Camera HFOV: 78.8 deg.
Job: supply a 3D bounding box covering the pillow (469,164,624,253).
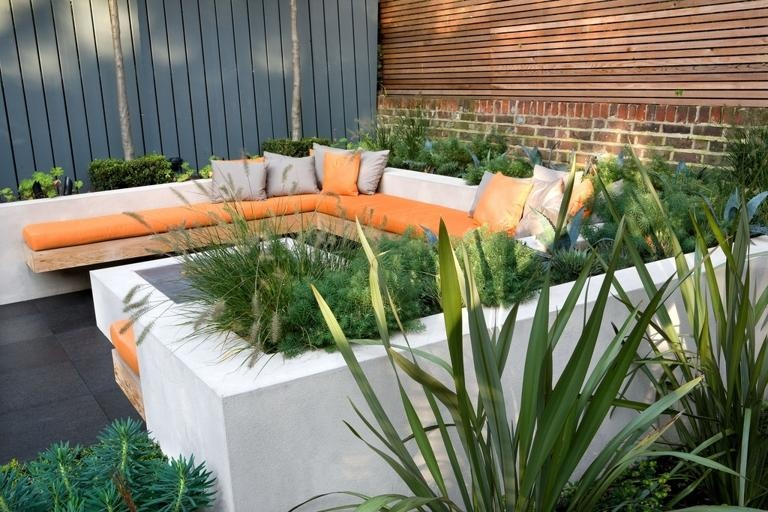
[{"bbox_3d":[1.286,-0.443,3.815,0.858,0.730,0.881,-3,32,-10],"label":"pillow"}]
